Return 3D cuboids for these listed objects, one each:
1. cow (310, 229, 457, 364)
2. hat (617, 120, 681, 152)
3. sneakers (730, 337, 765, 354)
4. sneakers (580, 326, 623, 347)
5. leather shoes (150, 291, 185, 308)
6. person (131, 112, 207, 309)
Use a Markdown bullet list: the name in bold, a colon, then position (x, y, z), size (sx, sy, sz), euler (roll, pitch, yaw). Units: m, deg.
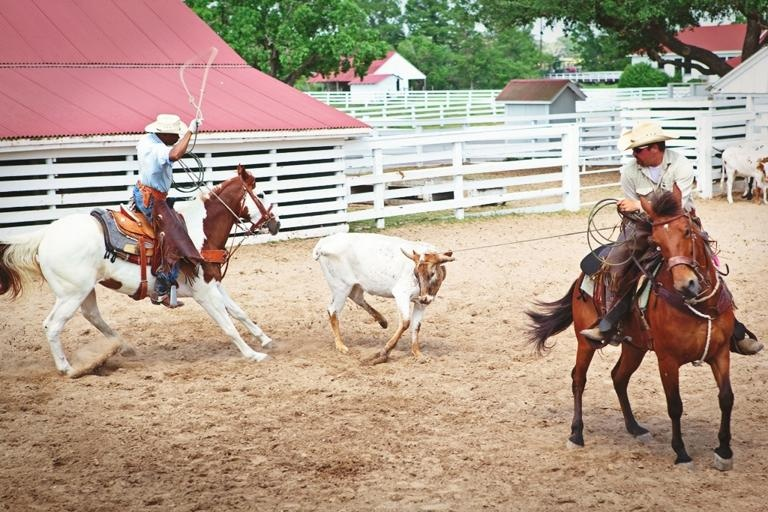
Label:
- **cow**: position (-0.027, 0.565, 11.182), size (1.807, 1.808, 0.910), euler (-1, 11, 22)
- **hat**: position (2.996, -1.398, 8.972), size (0.559, 0.315, 0.735), euler (-2, 10, 16)
- **sneakers**: position (4.156, 1.047, 8.859), size (0.272, 0.138, 0.213), euler (2, -6, 31)
- **sneakers**: position (2.537, 0.980, 9.055), size (0.392, 0.157, 0.228), euler (16, -19, -8)
- **leather shoes**: position (-3.240, 0.643, 11.173), size (0.662, 0.268, 0.239), euler (1, 2, -2)
- **person**: position (-2.976, -0.583, 10.901), size (1.028, 2.761, 0.603), euler (1, 11, 30)
